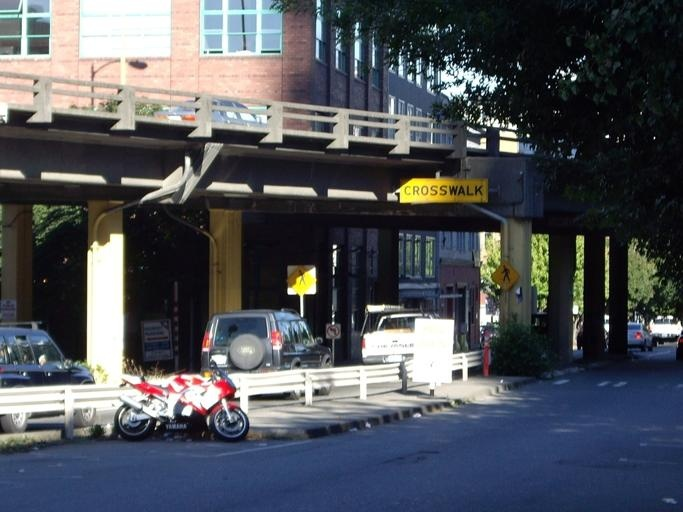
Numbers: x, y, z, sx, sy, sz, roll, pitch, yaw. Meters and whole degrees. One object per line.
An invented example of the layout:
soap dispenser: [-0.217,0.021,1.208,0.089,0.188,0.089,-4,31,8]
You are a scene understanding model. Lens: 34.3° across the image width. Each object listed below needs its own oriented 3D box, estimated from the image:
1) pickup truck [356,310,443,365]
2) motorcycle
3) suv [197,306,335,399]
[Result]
pickup truck: [1.675,2.435,33.918,1.591,1.593,2.278,-1,-3,19]
motorcycle: [-3.063,2.903,22.002,2.942,2.294,1.245,1,-10,-2]
suv: [-1.777,2.441,28.542,1.703,2.015,3.559,-2,-2,22]
